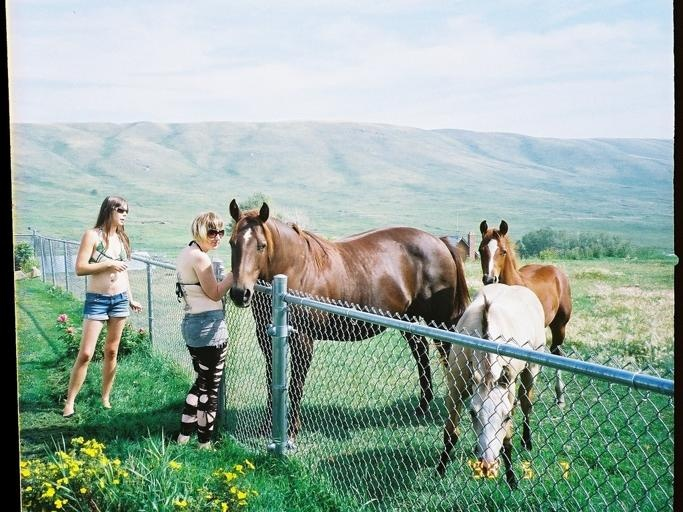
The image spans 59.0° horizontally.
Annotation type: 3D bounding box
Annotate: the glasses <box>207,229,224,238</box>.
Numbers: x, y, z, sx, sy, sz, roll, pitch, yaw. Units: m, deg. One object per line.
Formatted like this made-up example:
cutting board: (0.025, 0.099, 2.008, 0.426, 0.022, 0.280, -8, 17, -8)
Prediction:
glasses: (-1.340, -0.242, 6.437, 0.166, 0.080, 0.159, 2, 5, -9)

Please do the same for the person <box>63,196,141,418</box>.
person: (-2.994, 0.629, 7.543, 0.653, 2.732, 0.430, 0, 4, -27)

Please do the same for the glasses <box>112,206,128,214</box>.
glasses: (-2.753, -0.569, 7.571, 0.076, 0.081, 0.288, 2, 6, -2)

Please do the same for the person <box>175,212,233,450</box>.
person: (-1.511, 0.827, 6.539, 0.598, 2.601, 0.324, 4, 4, 26)
